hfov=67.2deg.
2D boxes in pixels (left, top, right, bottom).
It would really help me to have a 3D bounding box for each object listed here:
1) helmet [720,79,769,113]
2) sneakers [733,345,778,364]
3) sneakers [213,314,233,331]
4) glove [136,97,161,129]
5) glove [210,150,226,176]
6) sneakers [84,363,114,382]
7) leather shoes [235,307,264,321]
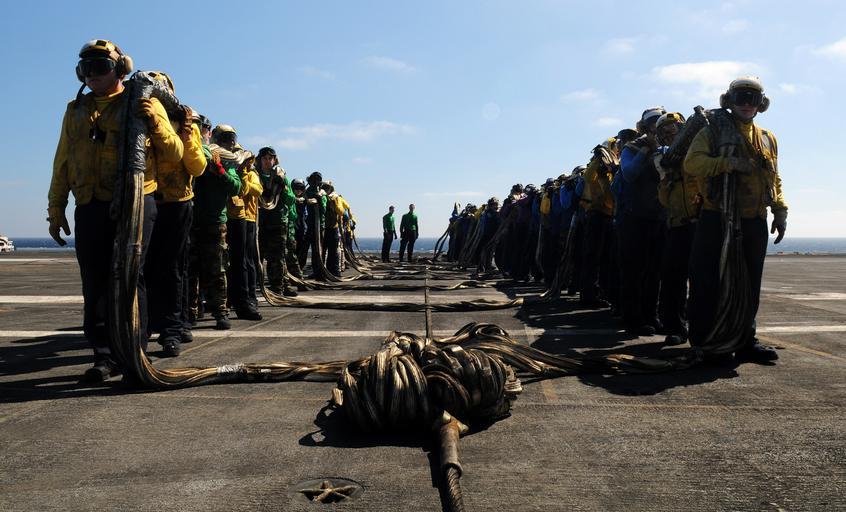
[{"bbox_3d":[3.291,-1.644,6.513,0.429,0.327,0.214,5,15,21],"label":"helmet"},{"bbox_3d":[3.383,0.991,6.462,0.476,0.200,0.181,-3,-1,8],"label":"sneakers"},{"bbox_3d":[-2.635,0.878,8.328,0.152,0.163,0.402,3,-9,-19],"label":"sneakers"},{"bbox_3d":[-2.566,-1.338,5.961,0.132,0.264,0.208,-4,20,-1],"label":"glove"},{"bbox_3d":[-2.596,-1.175,8.033,0.102,0.272,0.216,-18,4,9],"label":"glove"},{"bbox_3d":[-3.020,1.087,5.918,0.187,0.141,0.285,1,13,3],"label":"sneakers"},{"bbox_3d":[-2.473,0.817,9.025,0.457,0.178,0.161,1,-10,1],"label":"leather shoes"}]
